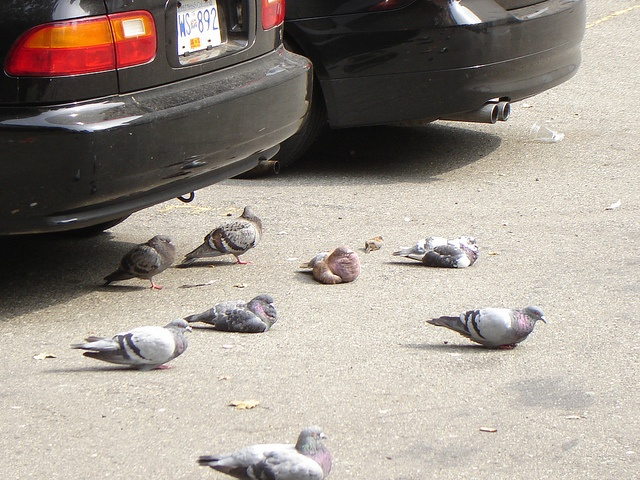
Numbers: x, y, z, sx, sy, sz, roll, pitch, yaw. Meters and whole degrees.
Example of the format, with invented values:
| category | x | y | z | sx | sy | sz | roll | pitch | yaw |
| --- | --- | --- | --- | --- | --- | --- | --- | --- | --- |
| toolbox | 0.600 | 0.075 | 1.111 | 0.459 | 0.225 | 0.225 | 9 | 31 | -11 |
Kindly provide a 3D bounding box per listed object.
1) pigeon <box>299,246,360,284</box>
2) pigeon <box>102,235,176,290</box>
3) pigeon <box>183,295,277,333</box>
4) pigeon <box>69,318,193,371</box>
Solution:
| category | x | y | z | sx | sy | sz | roll | pitch | yaw |
| --- | --- | --- | --- | --- | --- | --- | --- | --- | --- |
| pigeon | 0.031 | 0.124 | 5.240 | 0.202 | 0.225 | 0.369 | -26 | 34 | -33 |
| pigeon | -1.093 | 0.147 | 5.159 | 0.453 | 0.302 | 0.227 | -9 | 30 | -10 |
| pigeon | -0.467 | 0.381 | 4.644 | 0.504 | 0.169 | 0.202 | 3 | 7 | 6 |
| pigeon | -0.915 | 0.494 | 4.178 | 0.554 | 0.199 | 0.208 | 2 | 8 | -14 |
